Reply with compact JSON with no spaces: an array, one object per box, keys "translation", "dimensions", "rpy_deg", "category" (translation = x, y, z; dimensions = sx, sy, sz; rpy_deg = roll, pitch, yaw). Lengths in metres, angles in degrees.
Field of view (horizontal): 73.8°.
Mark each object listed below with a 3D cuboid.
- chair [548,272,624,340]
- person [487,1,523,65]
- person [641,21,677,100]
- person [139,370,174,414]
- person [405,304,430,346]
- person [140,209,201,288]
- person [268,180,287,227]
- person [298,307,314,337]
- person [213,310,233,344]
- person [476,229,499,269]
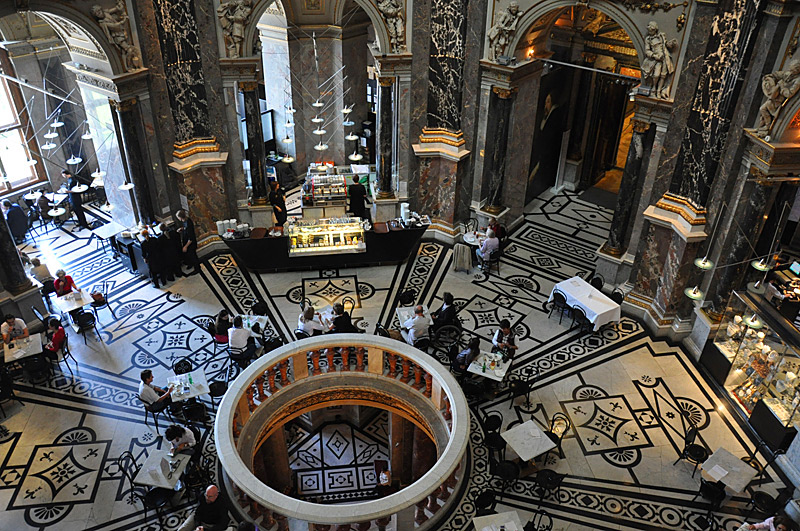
[{"translation":[5.183,1.070,14.884],"dimensions":[0.961,0.680,1.685],"rpy_deg":[-28,45,-34],"category":"chair"},{"translation":[2.956,-6.631,15.108],"dimensions":[0.903,1.603,0.325],"rpy_deg":[24,42,28],"category":"person"},{"translation":[6.473,-5.094,13.283],"dimensions":[0.942,1.643,0.422],"rpy_deg":[26,43,30],"category":"person"},{"translation":[-5.755,3.022,12.570],"dimensions":[0.472,0.973,0.603],"rpy_deg":[39,59,21],"category":"person"},{"translation":[0.474,1.619,14.003],"dimensions":[0.622,1.443,0.802],"rpy_deg":[-6,43,-6],"category":"person"},{"translation":[-6.899,-0.425,16.115],"dimensions":[1.533,1.778,0.634],"rpy_deg":[-22,42,-28],"category":"person"},{"translation":[-4.017,-1.998,17.583],"dimensions":[0.500,1.341,1.206],"rpy_deg":[-9,37,-13],"category":"person"},{"translation":[-2.368,1.453,13.519],"dimensions":[0.386,0.757,0.419],"rpy_deg":[-6,36,-10],"category":"person"},{"translation":[-4.603,1.627,13.893],"dimensions":[0.419,0.957,0.579],"rpy_deg":[18,52,5],"category":"person"},{"translation":[2.724,-0.497,16.442],"dimensions":[0.578,1.259,0.657],"rpy_deg":[-23,52,-14],"category":"person"}]
